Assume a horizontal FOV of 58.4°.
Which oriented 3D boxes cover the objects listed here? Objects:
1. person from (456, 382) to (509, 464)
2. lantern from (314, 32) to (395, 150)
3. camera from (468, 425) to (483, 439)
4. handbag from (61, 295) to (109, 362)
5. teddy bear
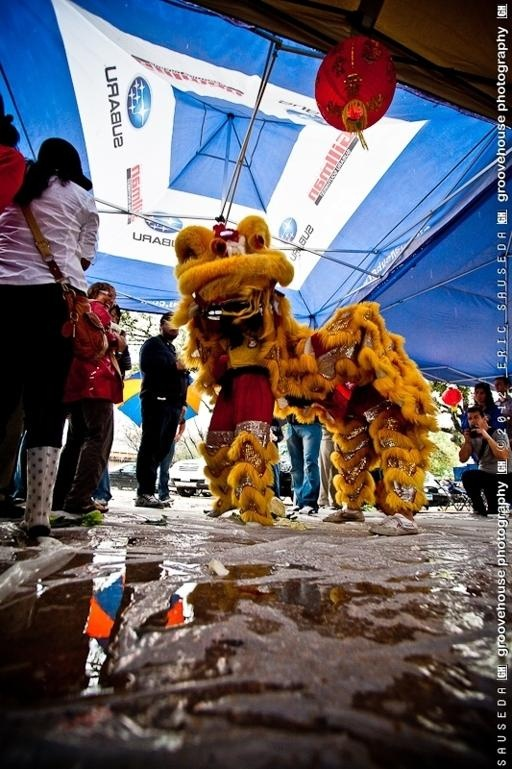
[{"bbox_3d":[2.691,0.360,5.481,0.509,0.716,0.472,3,4,24],"label":"person"},{"bbox_3d":[0.617,-1.892,2.905,0.410,0.736,0.433,10,-16,-23],"label":"lantern"},{"bbox_3d":[2.388,0.517,5.039,0.178,0.082,0.149,14,-10,10],"label":"camera"},{"bbox_3d":[-0.742,-0.251,2.011,0.204,0.245,0.180,15,5,3],"label":"handbag"},{"bbox_3d":[0.243,-0.125,3.029,1.673,2.024,0.789,2,-15,3],"label":"teddy bear"}]
